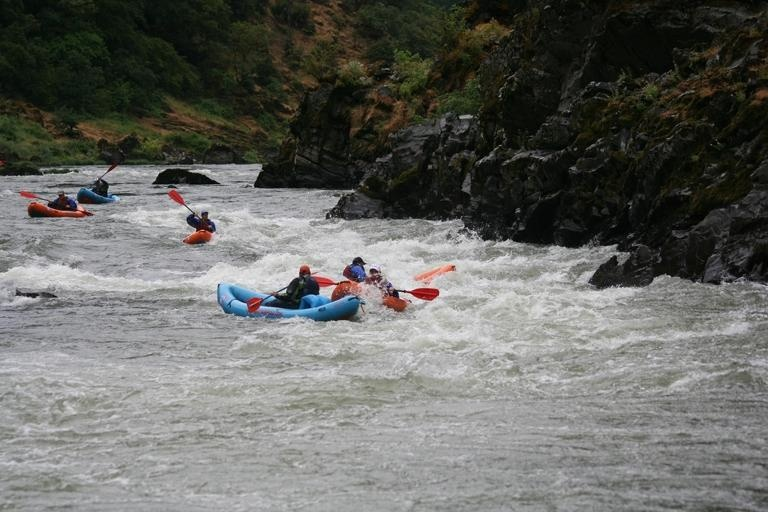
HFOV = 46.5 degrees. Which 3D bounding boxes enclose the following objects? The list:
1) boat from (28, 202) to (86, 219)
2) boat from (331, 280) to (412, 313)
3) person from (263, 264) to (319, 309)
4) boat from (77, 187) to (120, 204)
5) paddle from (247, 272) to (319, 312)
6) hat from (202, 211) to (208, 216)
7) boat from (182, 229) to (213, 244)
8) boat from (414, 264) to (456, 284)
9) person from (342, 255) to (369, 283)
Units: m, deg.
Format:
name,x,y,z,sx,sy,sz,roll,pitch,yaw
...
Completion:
name,x,y,z,sx,sy,sz,roll,pitch,yaw
boat,-11.514,-1.533,31.550,1.322,0.332,0.893,1,5,-42
boat,-0.304,0.942,21.688,1.517,0.370,0.865,11,-3,15
person,-2.279,0.847,21.962,1.808,0.880,1.076,-5,-3,34
boat,-11.260,-2.363,35.572,0.917,0.361,1.274,10,3,10
paddle,-2.276,0.908,21.401,1.883,0.608,0.704,-11,24,11
hat,-5.680,-1.350,28.465,0.347,0.113,0.395,0,1,-10
boat,-5.713,-0.554,27.616,0.832,0.470,0.576,7,26,-12
boat,1.394,0.449,23.304,0.961,0.100,0.505,-15,19,-27
person,-0.593,0.329,22.624,0.809,0.585,0.585,-4,13,-43
